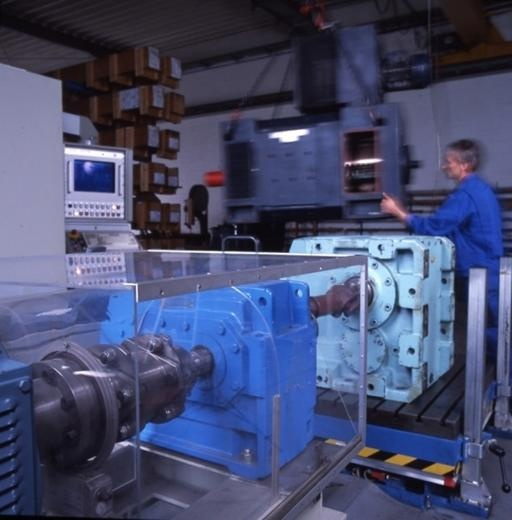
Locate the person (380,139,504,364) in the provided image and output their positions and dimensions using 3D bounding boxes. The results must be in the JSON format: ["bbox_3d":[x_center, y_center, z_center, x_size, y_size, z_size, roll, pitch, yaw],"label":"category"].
[{"bbox_3d":[0.942,-0.001,2.530,0.432,1.098,1.041,-1,4,26],"label":"person"}]
